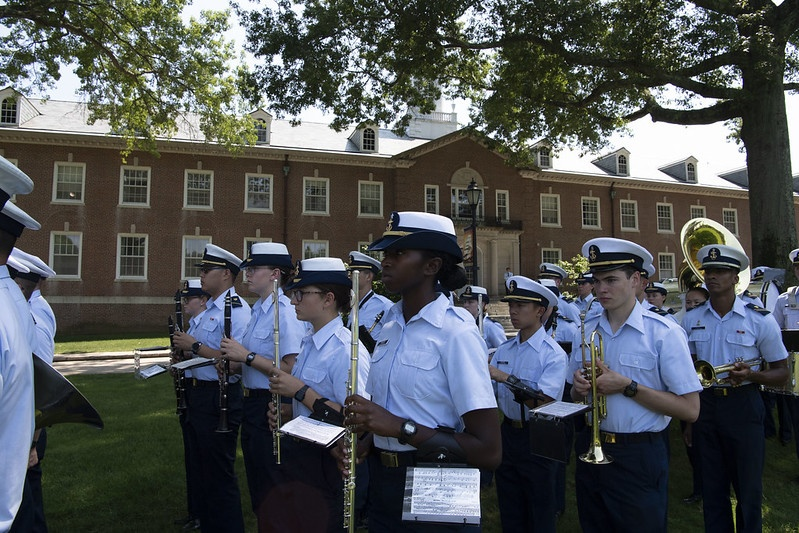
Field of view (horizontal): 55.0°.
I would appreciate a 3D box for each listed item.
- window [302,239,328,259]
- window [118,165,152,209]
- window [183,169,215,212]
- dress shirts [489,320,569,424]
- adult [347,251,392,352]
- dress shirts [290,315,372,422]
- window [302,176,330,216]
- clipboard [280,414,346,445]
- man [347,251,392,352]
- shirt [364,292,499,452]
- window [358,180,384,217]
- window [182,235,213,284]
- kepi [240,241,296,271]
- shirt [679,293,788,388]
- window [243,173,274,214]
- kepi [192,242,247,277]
[{"bbox_3d":[-3.959,-0.828,35.308,1.316,1.148,0.117,0,-8,-15],"label":"window"},{"bbox_3d":[-12.111,-3.617,34.805,1.921,2.677,0.177,1,-2,-24],"label":"window"},{"bbox_3d":[-9.401,-3.525,35.610,1.950,2.725,0.181,0,4,-18],"label":"window"},{"bbox_3d":[2.128,1.895,13.157,1.580,1.611,0.890,-3,-11,42],"label":"dress shirts"},{"bbox_3d":[-0.526,0.606,12.864,0.563,1.699,0.781,10,-37,-14],"label":"adult"},{"bbox_3d":[-1.149,1.640,12.180,0.854,1.449,1.625,0,3,-34],"label":"dress shirts"},{"bbox_3d":[-4.128,-3.381,37.249,1.863,2.494,0.188,0,3,-9],"label":"window"},{"bbox_3d":[-1.242,2.329,10.905,0.635,0.104,0.455,14,19,24],"label":"clipboard"},{"bbox_3d":[-0.526,0.606,12.864,0.563,1.699,0.781,10,-37,-14],"label":"man"},{"bbox_3d":[0.413,1.538,10.686,0.940,1.723,1.822,16,-18,-36],"label":"shirt"},{"bbox_3d":[-1.502,-3.298,37.915,1.781,2.418,0.206,0,1,-8],"label":"window"},{"bbox_3d":[-9.377,-0.384,35.367,1.252,2.333,0.204,1,-29,-14],"label":"window"},{"bbox_3d":[-2.254,-0.185,13.187,0.675,0.342,0.492,3,-2,-18],"label":"kepi"},{"bbox_3d":[5.796,1.169,13.359,2.527,1.187,0.895,0,-14,-29],"label":"shirt"},{"bbox_3d":[-6.784,-3.422,36.437,1.926,2.657,0.255,0,-4,-17],"label":"window"},{"bbox_3d":[-3.161,-0.109,13.733,0.674,0.329,0.560,16,-19,-39],"label":"kepi"}]
